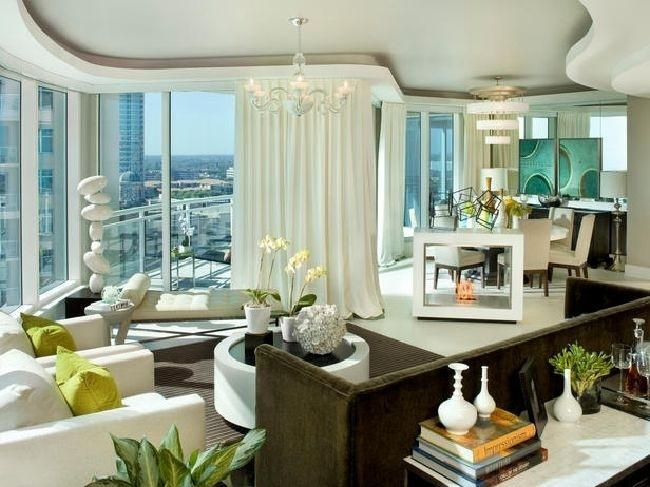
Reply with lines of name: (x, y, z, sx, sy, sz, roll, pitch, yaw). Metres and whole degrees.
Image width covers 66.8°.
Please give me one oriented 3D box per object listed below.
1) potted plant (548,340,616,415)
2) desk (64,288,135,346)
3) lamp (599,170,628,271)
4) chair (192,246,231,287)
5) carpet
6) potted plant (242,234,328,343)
potted plant: (1.147, 0.626, 2.224, 0.242, 0.279, 0.236, -6, -16, 41)
desk: (-1.987, 0.637, 4.339, 0.655, 0.575, 0.342, -3, 10, -28)
lamp: (5.149, -0.418, 8.811, 0.407, 1.737, 1.050, 0, 4, 30)
chair: (-1.534, 0.208, 6.836, 0.479, 0.533, 0.711, 3, 5, -4)
carpet: (-0.211, 0.785, 2.451, 0.912, 0.004, 0.970, -4, 7, -37)
potted plant: (-0.470, 0.392, 4.928, 1.031, 1.013, 0.903, 3, 2, 41)
